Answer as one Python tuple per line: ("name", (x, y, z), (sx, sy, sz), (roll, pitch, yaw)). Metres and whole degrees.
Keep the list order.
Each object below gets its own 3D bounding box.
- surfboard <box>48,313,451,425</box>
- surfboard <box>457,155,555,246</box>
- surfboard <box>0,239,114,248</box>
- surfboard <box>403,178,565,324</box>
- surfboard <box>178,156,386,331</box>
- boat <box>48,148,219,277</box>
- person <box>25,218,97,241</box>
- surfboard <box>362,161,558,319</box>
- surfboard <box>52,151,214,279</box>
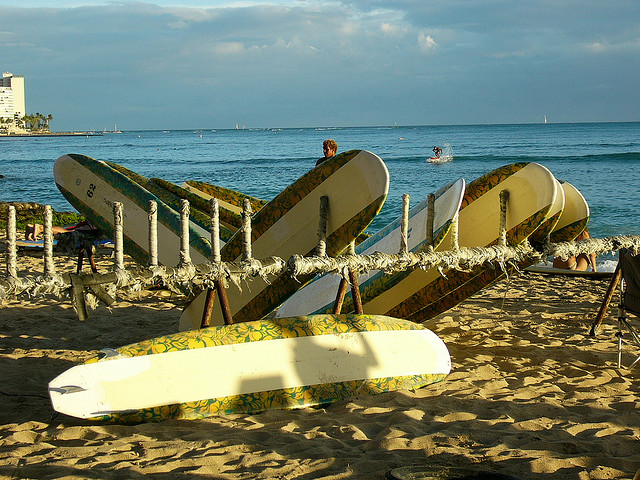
("surfboard", (-0.477, 1.208, 7.593), (4.154, 1.071, 0.600), (-3, -19, -16))
("surfboard", (1.759, -0.299, 7.889), (0.243, 0.840, 1.015), (-12, 17, -41))
("surfboard", (-3.043, 0.054, 9.878), (0.851, 0.115, 0.199), (0, 2, 10))
("surfboard", (1.614, 0.150, 8.287), (2.459, 0.321, 0.281), (-34, 41, 8))
("surfboard", (-0.677, 0.213, 7.791), (0.444, 0.786, 3.002), (0, -30, -42))
("boat", (-2.194, -0.360, 8.978), (0.322, 0.641, 2.165), (6, -14, 10))
("person", (-3.280, -0.113, 10.638), (0.384, 0.173, 1.238), (-2, 1, -29))
("surfboard", (1.416, 0.031, 8.042), (1.591, 1.557, 0.625), (3, 13, 14))
("surfboard", (-1.986, -0.252, 8.664), (2.347, 0.632, 0.305), (31, -7, 33))
